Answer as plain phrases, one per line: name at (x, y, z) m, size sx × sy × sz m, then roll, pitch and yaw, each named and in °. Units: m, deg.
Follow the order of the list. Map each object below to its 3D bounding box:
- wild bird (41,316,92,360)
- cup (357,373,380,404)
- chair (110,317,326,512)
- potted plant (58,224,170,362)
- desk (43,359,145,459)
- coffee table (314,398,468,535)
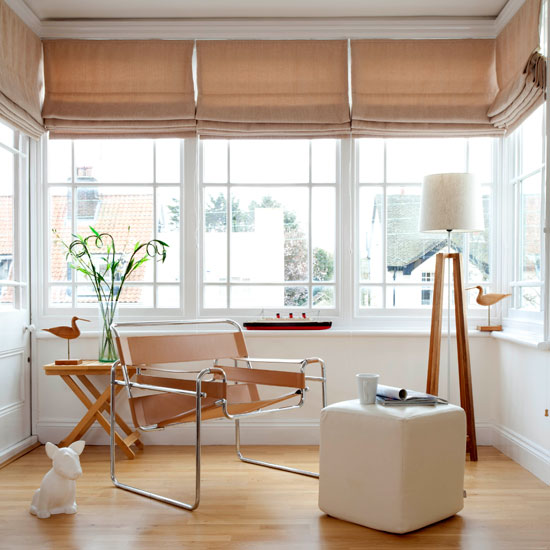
wild bird at (-1.249, 0.373, 3.421) m, size 0.261 × 0.186 × 0.421 m, roll 0°, pitch 0°, yaw -21°
cup at (0.386, 0.476, 2.406) m, size 0.111 × 0.115 × 0.107 m, roll -1°, pitch -9°, yaw 0°
chair at (-0.279, 0.637, 2.906) m, size 0.635 × 0.801 × 0.923 m, roll -4°, pitch -7°, yaw 38°
potted plant at (-1.070, 0.103, 3.768) m, size 0.773 × 0.903 × 0.740 m, roll -1°, pitch -3°, yaw 13°
desk at (-1.030, 0.785, 3.391) m, size 0.563 × 0.490 × 0.559 m, roll 3°, pitch -9°, yaw -12°
coffee table at (0.499, 0.765, 2.481) m, size 0.500 × 0.450 × 0.490 m, roll 2°, pitch -2°, yaw -41°
